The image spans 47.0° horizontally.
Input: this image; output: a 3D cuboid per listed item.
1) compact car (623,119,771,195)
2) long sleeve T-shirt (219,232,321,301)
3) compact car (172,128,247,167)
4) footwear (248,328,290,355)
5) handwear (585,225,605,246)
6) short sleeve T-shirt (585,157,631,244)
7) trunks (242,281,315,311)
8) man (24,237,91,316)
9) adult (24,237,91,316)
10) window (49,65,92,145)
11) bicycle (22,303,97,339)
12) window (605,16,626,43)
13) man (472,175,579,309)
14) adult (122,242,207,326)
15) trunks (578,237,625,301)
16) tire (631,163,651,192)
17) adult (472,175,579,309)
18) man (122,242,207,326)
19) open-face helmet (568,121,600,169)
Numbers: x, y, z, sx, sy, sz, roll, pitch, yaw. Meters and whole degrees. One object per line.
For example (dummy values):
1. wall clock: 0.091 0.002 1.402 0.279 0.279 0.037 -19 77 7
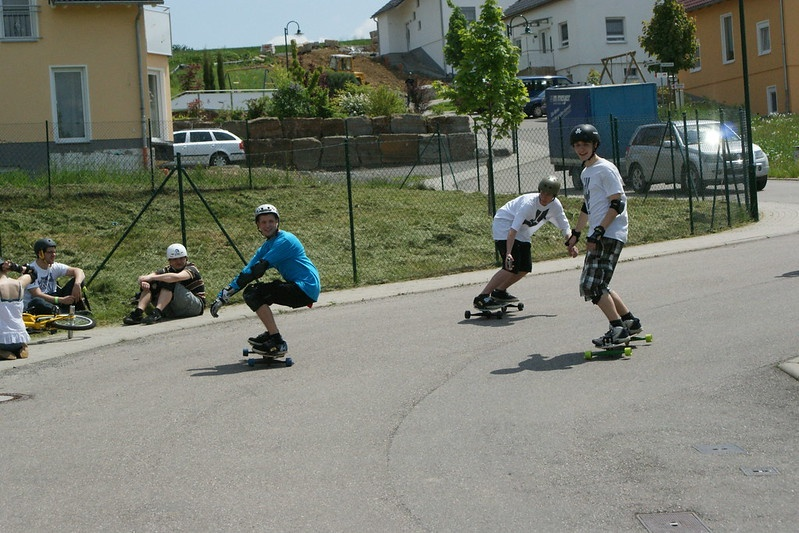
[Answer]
1. compact car: 7.875 -2.966 24.968 2.382 1.812 4.119 -5 5 -28
2. long sleeve T-shirt: -1.738 -0.009 12.542 1.436 1.000 0.842 5 0 -21
3. compact car: -6.371 -4.007 30.972 2.304 1.076 2.538 -4 14 -10
4. footwear: -1.742 1.002 12.160 0.589 0.295 0.226 8 4 2
5. handwear: 2.478 -0.369 11.536 0.254 0.264 0.129 -12 17 -39
6. short sleeve T-shirt: 2.622 -0.818 11.727 0.539 1.046 0.568 1 13 9
7. trunks: -1.635 0.399 12.321 0.705 0.283 0.450 2 -2 -2
8. man: -5.504 0.227 14.529 1.053 1.261 0.938 4 10 19
9. adult: -5.502 0.229 14.532 1.039 1.292 0.945 3 7 22
10. window: -9.783 -4.782 27.344 1.092 2.327 0.186 -4 -3 -14
11. bicycle: -5.236 0.900 14.268 0.966 0.529 0.621 3 -8 11
12. window: 13.102 -14.248 55.730 1.543 1.952 0.509 0 4 -2
13. man: 1.856 -0.358 13.999 1.304 1.972 1.426 2 14 14
14. adult: -3.764 0.403 15.318 0.797 1.326 1.530 3 -1 42
15. trunks: 2.569 0.075 11.671 0.517 0.892 0.284 -1 13 1
16. tire: 6.920 -2.519 26.161 0.306 1.004 0.952 -3 5 -15
17. adult: 1.856 -0.359 14.003 1.324 1.972 1.419 2 14 14
18. man: -3.804 0.257 14.968 0.763 1.318 1.545 3 0 25
19. open-face helmet: 2.416 -1.549 11.757 0.344 0.562 0.386 5 14 44
